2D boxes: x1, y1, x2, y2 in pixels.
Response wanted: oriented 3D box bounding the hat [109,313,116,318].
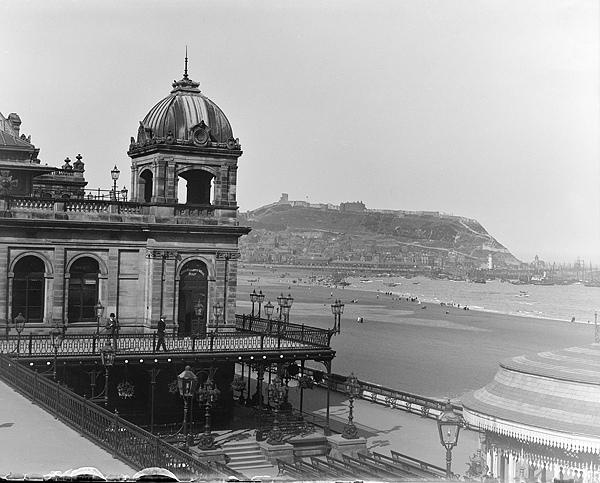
[{"bbox_3d":[-9.368,3.654,57.264,0.287,0.216,0.071,-1,-2,-18],"label":"hat"}]
